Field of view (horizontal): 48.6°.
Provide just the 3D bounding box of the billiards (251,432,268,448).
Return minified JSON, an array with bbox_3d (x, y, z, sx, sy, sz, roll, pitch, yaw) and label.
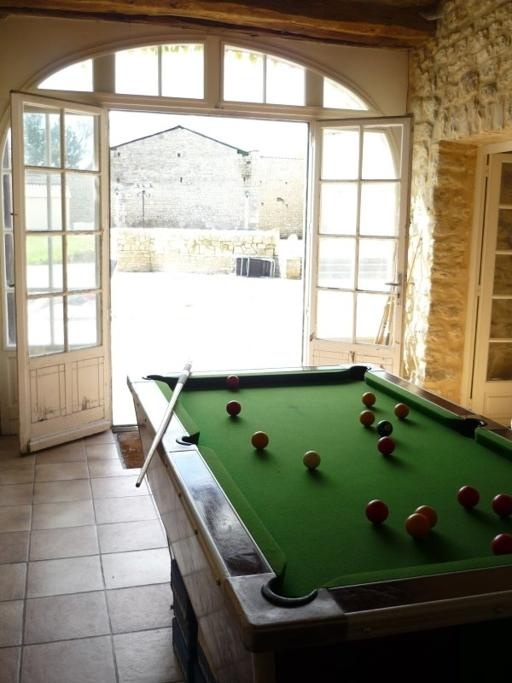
[{"bbox_3d":[0.013,0.313,1.798,0.052,0.050,0.050,27,-7,-10],"label":"billiards"}]
